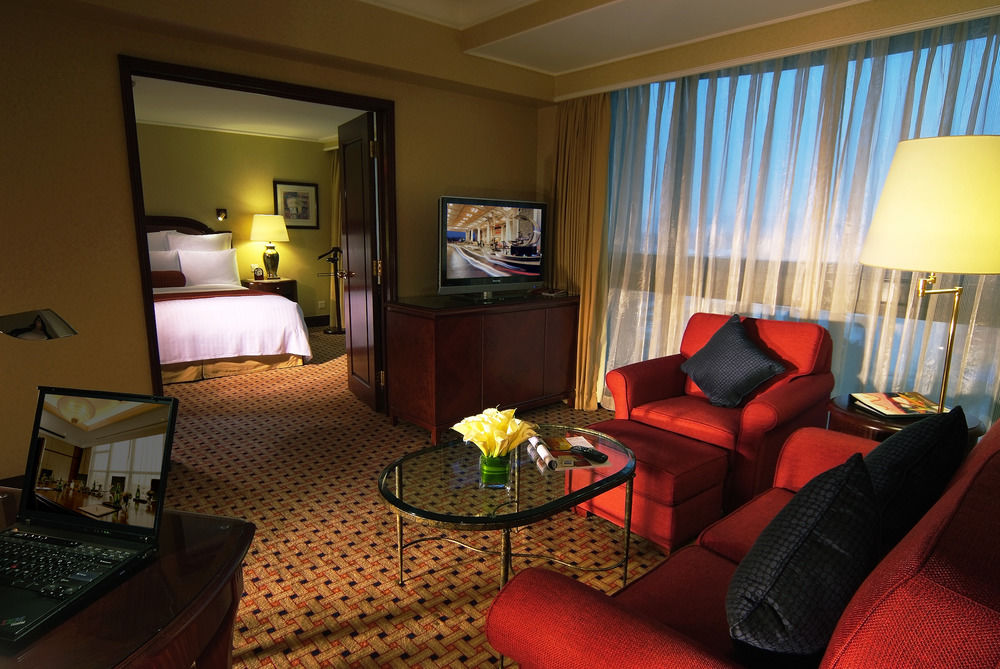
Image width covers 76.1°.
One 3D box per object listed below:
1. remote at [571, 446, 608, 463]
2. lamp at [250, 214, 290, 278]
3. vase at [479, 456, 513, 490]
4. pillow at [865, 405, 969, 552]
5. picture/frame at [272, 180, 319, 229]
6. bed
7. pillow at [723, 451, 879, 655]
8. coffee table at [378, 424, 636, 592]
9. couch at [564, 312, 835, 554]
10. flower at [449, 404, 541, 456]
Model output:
[{"bbox_3d":[0.433,0.583,3.122,0.135,0.043,0.074,10,14,16],"label":"remote"},{"bbox_3d":[-2.858,-1.086,7.983,0.471,0.782,0.452,-2,3,-3],"label":"lamp"},{"bbox_3d":[-0.018,0.621,2.889,0.146,0.150,0.142,-1,-2,-1],"label":"vase"},{"bbox_3d":[1.441,0.501,2.204,0.201,0.366,0.415,8,3,33],"label":"pillow"},{"bbox_3d":[-2.648,-1.684,8.204,0.715,0.760,0.080,-5,13,-38],"label":"picture/frame"},{"bbox_3d":[-3.077,-0.508,6.940,1.474,1.383,2.254,-8,14,-34],"label":"bed"},{"bbox_3d":[0.956,0.686,2.013,0.479,0.589,0.251,-7,14,-25],"label":"pillow"},{"bbox_3d":[-0.026,0.681,2.996,1.102,0.587,0.779,-12,20,-39],"label":"coffee table"},{"bbox_3d":[1.107,0.590,3.949,1.464,1.215,1.210,-10,15,-36],"label":"couch"},{"bbox_3d":[-0.050,0.416,2.925,0.262,0.145,0.266,-1,8,-31],"label":"flower"}]
